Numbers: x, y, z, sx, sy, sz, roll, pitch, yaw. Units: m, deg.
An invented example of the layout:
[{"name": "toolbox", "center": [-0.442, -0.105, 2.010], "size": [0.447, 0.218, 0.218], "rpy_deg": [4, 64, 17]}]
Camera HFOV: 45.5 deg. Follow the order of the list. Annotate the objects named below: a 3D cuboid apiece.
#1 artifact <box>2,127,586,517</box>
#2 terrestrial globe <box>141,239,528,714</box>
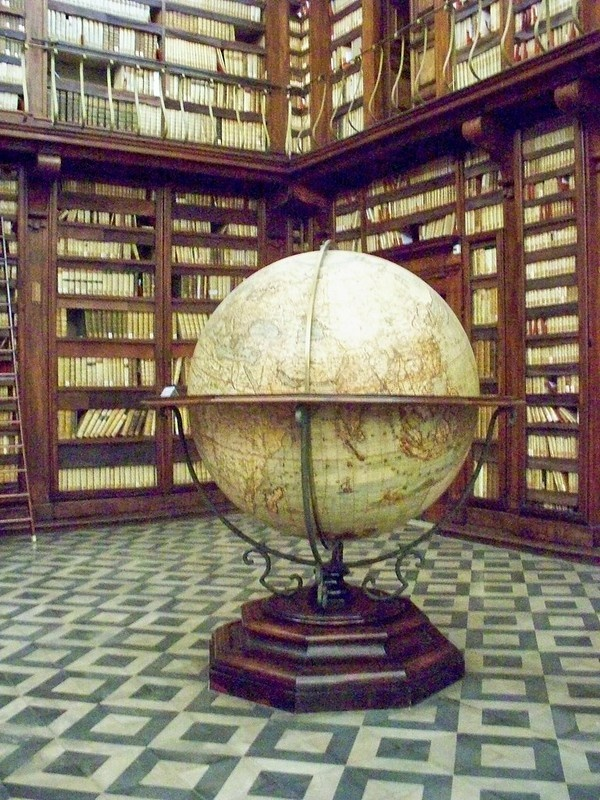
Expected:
[{"name": "artifact", "center": [-0.140, -0.525, 4.511], "size": [2.118, 2.176, 1.453], "rpy_deg": [0, -2, -4]}, {"name": "terrestrial globe", "center": [-0.021, 0.143, 2.705], "size": [0.952, 1.626, 1.108], "rpy_deg": [-10, 14, -24]}]
